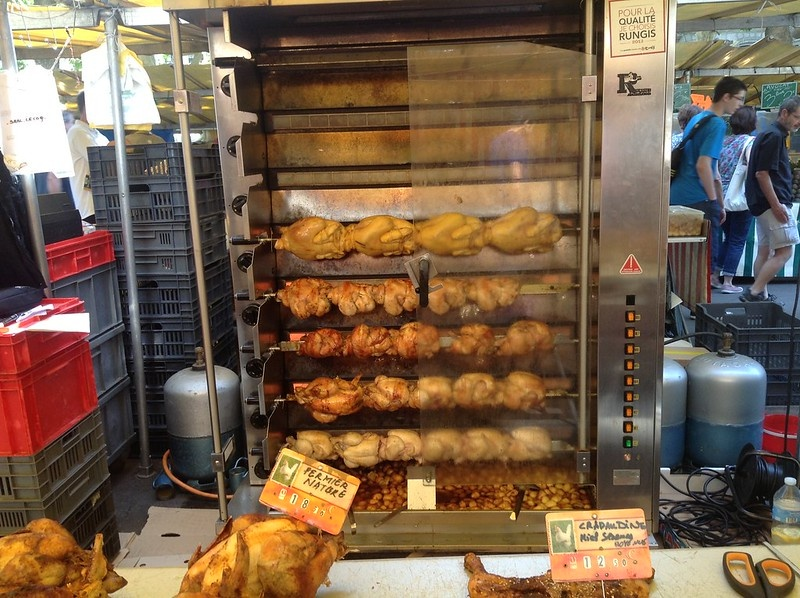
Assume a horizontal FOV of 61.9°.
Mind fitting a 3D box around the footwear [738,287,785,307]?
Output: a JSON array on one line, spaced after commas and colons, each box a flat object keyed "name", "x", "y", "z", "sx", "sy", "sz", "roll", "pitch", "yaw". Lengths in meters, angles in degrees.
[{"name": "footwear", "x": 3.428, "y": -0.017, "z": 6.354, "sx": 0.419, "sy": 0.192, "sz": 0.148, "roll": -4, "pitch": 35, "yaw": -8}]

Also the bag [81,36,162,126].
[{"name": "bag", "x": -2.000, "y": -1.481, "z": 4.709, "sx": 0.693, "sy": 0.673, "sz": 0.207, "roll": 2, "pitch": 34, "yaw": -13}]

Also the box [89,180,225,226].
[{"name": "box", "x": -1.707, "y": -0.652, "z": 4.642, "sx": 0.636, "sy": 0.252, "sz": 0.633, "roll": -2, "pitch": 4, "yaw": 13}]

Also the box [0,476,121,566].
[{"name": "box", "x": -1.646, "y": 1.100, "z": 3.420, "sx": 0.488, "sy": 0.291, "sz": 0.480, "roll": -1, "pitch": -4, "yaw": -27}]

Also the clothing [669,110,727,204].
[{"name": "clothing", "x": 2.463, "y": -1.144, "z": 5.588, "sx": 0.317, "sy": 0.758, "sz": 0.553, "roll": 5, "pitch": 6, "yaw": -3}]

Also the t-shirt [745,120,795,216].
[{"name": "t-shirt", "x": 3.507, "y": -1.206, "z": 6.304, "sx": 0.390, "sy": 0.886, "sz": 0.485, "roll": 3, "pitch": 14, "yaw": 20}]
